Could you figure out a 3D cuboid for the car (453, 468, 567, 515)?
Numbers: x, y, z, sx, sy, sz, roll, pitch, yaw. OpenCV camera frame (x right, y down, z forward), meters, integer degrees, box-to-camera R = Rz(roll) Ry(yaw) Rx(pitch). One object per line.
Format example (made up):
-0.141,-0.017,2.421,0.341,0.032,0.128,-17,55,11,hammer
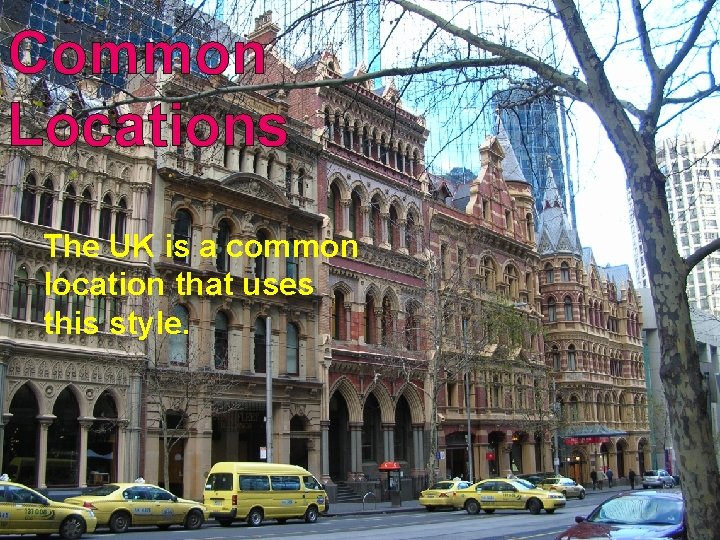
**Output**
6.693,10.179,34.447,4.349,1.591,1.688,-5,-18,8,car

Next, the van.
-3.693,8.355,29.352,4.667,2.192,2.282,13,-22,-43,van
